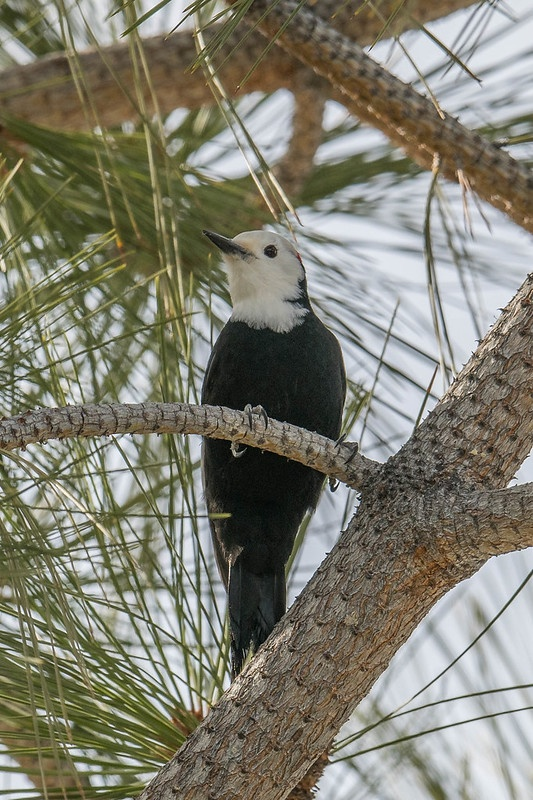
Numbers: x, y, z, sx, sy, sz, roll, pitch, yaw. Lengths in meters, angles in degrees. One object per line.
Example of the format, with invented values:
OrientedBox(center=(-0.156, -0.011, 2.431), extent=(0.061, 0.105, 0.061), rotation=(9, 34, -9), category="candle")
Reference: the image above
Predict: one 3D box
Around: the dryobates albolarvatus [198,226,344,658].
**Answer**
OrientedBox(center=(-0.005, 0.053, 3.828), extent=(0.315, 1.251, 0.594), rotation=(2, 0, 0), category="dryobates albolarvatus")
